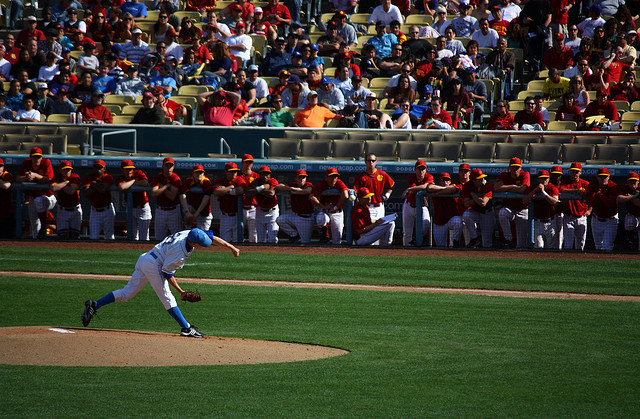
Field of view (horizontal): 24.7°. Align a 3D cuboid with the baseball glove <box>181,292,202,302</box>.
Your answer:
[{"bbox_3d":[-2.541,1.752,29.436,0.404,0.191,0.347,0,-2,5],"label":"baseball glove"}]

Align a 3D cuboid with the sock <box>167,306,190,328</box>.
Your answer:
[{"bbox_3d":[-2.815,2.152,29.402,0.480,0.425,0.322,2,-3,-34],"label":"sock"}]

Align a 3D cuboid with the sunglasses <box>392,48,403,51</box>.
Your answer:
[{"bbox_3d":[2.139,-4.280,39.371,0.242,0.075,0.119,1,-2,-21],"label":"sunglasses"}]

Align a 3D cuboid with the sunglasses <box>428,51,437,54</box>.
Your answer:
[{"bbox_3d":[3.026,-4.131,38.698,0.132,0.097,0.254,-2,-3,42],"label":"sunglasses"}]
